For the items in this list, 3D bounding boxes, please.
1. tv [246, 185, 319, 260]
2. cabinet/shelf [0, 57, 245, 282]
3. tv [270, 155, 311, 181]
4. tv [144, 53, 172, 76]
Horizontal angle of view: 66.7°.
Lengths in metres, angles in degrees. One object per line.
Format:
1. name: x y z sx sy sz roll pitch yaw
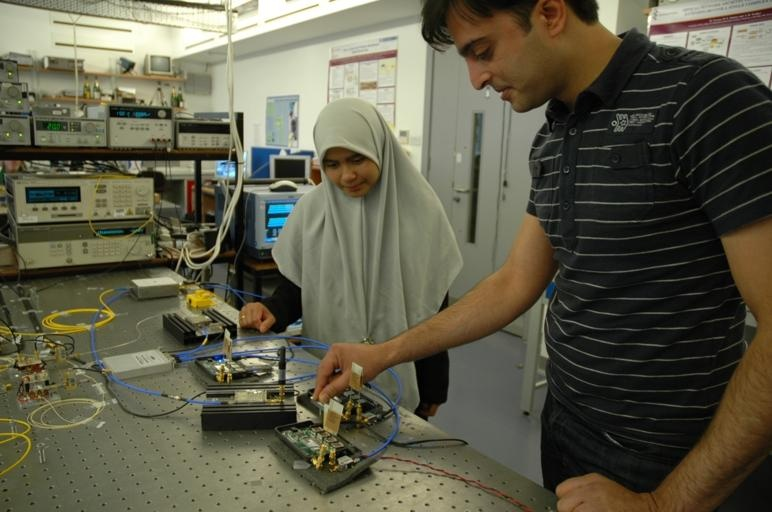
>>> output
1. tv: -0.658 -0.213 3.663 0.435 0.343 0.455 -7 16 -27
2. cabinet/shelf: -1.294 -0.407 3.162 1.287 1.214 0.932 -6 12 -28
3. tv: -0.907 -0.855 5.611 0.443 0.377 0.240 -1 16 -8
4. tv: -3.821 -3.282 9.951 0.358 0.400 0.504 23 26 30
